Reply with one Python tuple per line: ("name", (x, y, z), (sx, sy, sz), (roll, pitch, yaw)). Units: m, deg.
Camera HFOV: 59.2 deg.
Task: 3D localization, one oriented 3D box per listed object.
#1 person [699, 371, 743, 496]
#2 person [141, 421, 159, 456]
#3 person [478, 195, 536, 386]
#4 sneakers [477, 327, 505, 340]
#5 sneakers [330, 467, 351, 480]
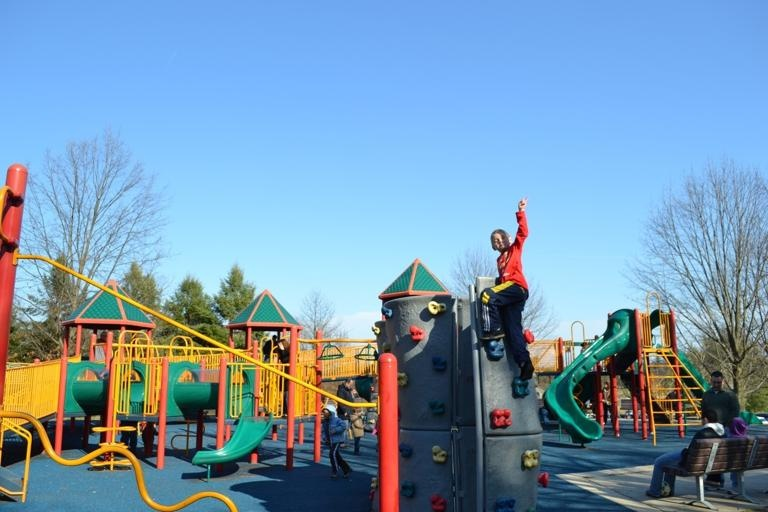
("person", (7.807, 4.013, 15.666), (0.856, 2.684, 0.788), (-6, -19, 18))
("person", (-7.761, 6.049, 22.298), (0.432, 1.068, 3.259), (4, -15, -18))
("person", (2.325, 0.830, 13.112), (0.967, 3.098, 0.914), (-3, -14, 8))
("sneakers", (2.054, 1.479, 12.863), (0.431, 0.202, 0.188), (3, -8, -17))
("sneakers", (-1.166, 5.785, 17.963), (0.597, 0.263, 0.224), (-3, -7, -2))
